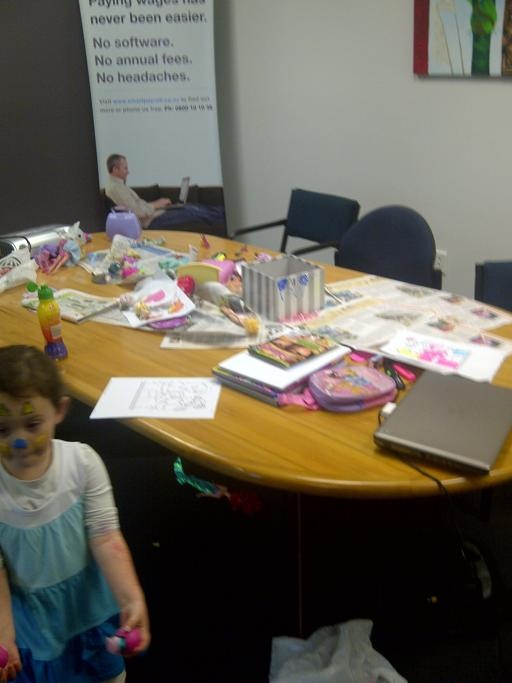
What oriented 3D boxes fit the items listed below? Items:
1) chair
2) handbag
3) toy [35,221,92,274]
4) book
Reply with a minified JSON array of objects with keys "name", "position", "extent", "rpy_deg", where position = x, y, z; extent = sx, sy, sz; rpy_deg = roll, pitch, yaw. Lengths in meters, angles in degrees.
[{"name":"chair","position":[0.597,-0.436,2.378],"extent":[0.272,0.433,0.838],"rpy_deg":[-26,36,-36]},{"name":"handbag","position":[0.211,0.099,1.155],"extent":[0.174,0.041,0.170],"rpy_deg":[-24,29,-38]},{"name":"toy","position":[-0.820,-0.393,2.293],"extent":[0.187,0.112,0.291],"rpy_deg":[-17,19,26]},{"name":"book","position":[0.043,0.045,1.233],"extent":[0.186,0.045,0.198],"rpy_deg":[12,32,37]}]
